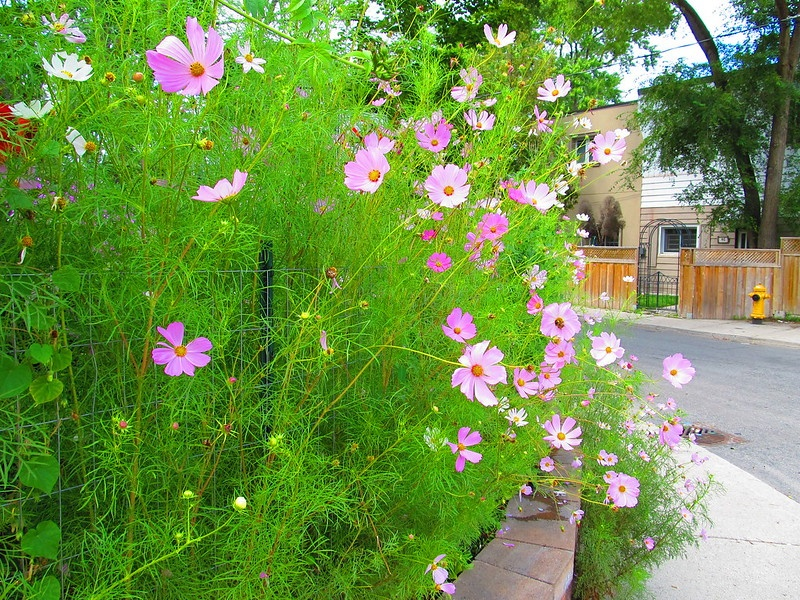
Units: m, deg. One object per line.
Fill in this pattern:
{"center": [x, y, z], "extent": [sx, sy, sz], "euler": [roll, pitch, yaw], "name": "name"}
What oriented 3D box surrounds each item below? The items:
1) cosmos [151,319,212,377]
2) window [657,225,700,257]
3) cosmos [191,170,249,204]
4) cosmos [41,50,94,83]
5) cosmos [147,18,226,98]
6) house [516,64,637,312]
{"center": [-0.530, 0.127, 1.350], "extent": [0.146, 0.044, 0.150], "euler": [20, 37, -38], "name": "cosmos"}
{"center": [9.711, -2.089, 19.280], "extent": [1.584, 1.687, 0.174], "euler": [-2, -3, 40], "name": "window"}
{"center": [-0.411, -0.260, 1.285], "extent": [0.097, 0.074, 0.185], "euler": [3, 5, -17], "name": "cosmos"}
{"center": [-0.775, -0.540, 1.295], "extent": [0.117, 0.073, 0.062], "euler": [6, 5, 13], "name": "cosmos"}
{"center": [-0.455, -0.525, 1.195], "extent": [0.127, 0.167, 0.170], "euler": [7, 6, 34], "name": "cosmos"}
{"center": [5.128, -2.498, 14.515], "extent": [1.420, 5.243, 1.018], "euler": [-2, 10, -7], "name": "house"}
